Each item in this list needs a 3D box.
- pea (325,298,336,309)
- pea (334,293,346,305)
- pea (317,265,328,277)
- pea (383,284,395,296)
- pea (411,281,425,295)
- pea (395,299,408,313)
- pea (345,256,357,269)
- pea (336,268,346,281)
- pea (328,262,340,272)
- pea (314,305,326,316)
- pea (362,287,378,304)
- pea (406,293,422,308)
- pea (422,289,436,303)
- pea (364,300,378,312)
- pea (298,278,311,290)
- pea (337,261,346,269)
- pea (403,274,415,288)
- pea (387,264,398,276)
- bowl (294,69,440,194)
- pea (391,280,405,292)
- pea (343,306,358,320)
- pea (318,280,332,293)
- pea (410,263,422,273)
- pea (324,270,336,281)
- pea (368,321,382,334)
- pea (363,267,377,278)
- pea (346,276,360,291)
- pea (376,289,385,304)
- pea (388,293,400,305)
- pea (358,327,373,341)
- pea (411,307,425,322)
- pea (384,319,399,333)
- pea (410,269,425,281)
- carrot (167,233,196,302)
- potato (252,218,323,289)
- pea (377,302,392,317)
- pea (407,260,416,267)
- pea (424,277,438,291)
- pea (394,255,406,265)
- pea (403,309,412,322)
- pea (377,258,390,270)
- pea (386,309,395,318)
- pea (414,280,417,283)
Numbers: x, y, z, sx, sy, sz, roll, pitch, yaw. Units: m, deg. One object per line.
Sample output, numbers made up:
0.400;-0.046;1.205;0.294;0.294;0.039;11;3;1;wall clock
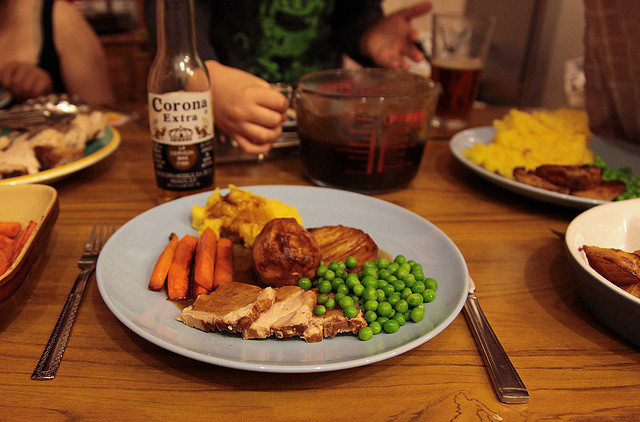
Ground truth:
0.041;0.361;1.948;0.038;0.028;0.028;-10;67;31;pea
0.081;0.352;1.983;0.036;0.035;0.035;16;70;-5;pea
0.005;0.254;2.115;0.036;0.024;0.043;7;38;8;pea
0.275;0.315;1.976;0.042;0.039;0.039;2;11;12;pea
0.393;0.306;1.969;0.037;0.035;0.047;7;-5;1;pea
0.314;0.368;1.902;0.042;0.039;0.045;-2;-3;30;pea
0.136;0.224;2.148;0.043;0.046;0.054;24;42;27;pea
0.086;0.268;2.096;0.033;0.023;0.040;-18;64;-18;pea
0.062;0.237;2.119;0.035;0.033;0.042;24;1;3;pea
0.000;0.371;1.851;0.038;0.028;0.028;-4;43;0;pea
0.195;0.331;1.952;0.057;0.062;0.056;9;-12;-8;pea
0.364;0.344;1.914;0.056;0.041;0.041;-4;-9;13;pea
0.429;0.335;1.954;0.051;0.042;0.047;10;37;10;pea
0.199;0.367;1.911;0.047;0.034;0.033;0;45;0;pea
-0.065;0.304;2.079;0.044;0.042;0.043;-1;5;-41;pea
0.093;0.231;2.122;0.026;0.025;0.026;-29;53;-27;pea
0.360;0.280;1.998;0.047;0.046;0.047;-2;18;2;pea
0.302;0.248;2.069;0.040;0.021;0.039;1;4;19;pea
0.149;-0.438;2.741;0.911;0.587;0.709;2;27;1;bowl
0.315;0.301;1.989;0.047;0.035;0.033;7;56;3;pea
0.111;0.377;1.844;0.053;0.021;0.054;22;40;25;pea
0.021;0.315;2.054;0.038;0.037;0.050;-3;-5;37;pea
0.401;0.230;2.064;0.037;0.042;0.035;6;43;10;pea
0.041;0.271;2.089;0.039;0.035;0.038;-2;14;-27;pea
0.208;0.435;1.850;0.040;0.042;0.037;-3;8;31;pea
0.208;0.258;2.067;0.056;0.027;0.058;9;36;9;pea
0.129;0.299;2.032;0.048;0.056;0.030;6;67;-1;pea
0.240;0.338;1.960;0.041;0.046;0.040;-17;23;-28;pea
0.288;0.344;1.942;0.036;0.035;0.038;3;22;19;pea
0.167;0.450;1.815;0.052;0.038;0.037;-6;68;-1;pea
0.370;0.392;1.880;0.048;0.044;0.056;11;36;11;pea
0.265;0.430;1.842;0.039;0.049;0.035;3;73;-4;pea
0.400;0.260;2.029;0.050;0.037;0.036;12;35;11;pea
-0.577;0.246;2.050;0.070;0.048;0.272;6;31;-10;carrot
-0.149;0.177;2.109;0.272;0.204;0.254;-26;44;-32;potato
0.246;0.375;1.888;0.049;0.025;0.048;-8;25;-19;pea
0.388;0.221;2.090;0.021;0.020;0.025;-6;3;-10;pea
0.444;0.292;1.983;0.050;0.037;0.038;10;68;36;pea
0.346;0.210;2.128;0.034;0.032;0.039;-9;-5;-4;pea
0.336;0.401;1.900;0.033;0.037;0.031;5;18;16;pea
0.268;0.223;2.108;0.044;0.050;0.040;4;34;3;pea
0.270;0.392;1.889;0.025;0.023;0.023;7;64;16;pea
0.384;0.283;2.000;0.010;0.003;0.014;0;4;19;pea
